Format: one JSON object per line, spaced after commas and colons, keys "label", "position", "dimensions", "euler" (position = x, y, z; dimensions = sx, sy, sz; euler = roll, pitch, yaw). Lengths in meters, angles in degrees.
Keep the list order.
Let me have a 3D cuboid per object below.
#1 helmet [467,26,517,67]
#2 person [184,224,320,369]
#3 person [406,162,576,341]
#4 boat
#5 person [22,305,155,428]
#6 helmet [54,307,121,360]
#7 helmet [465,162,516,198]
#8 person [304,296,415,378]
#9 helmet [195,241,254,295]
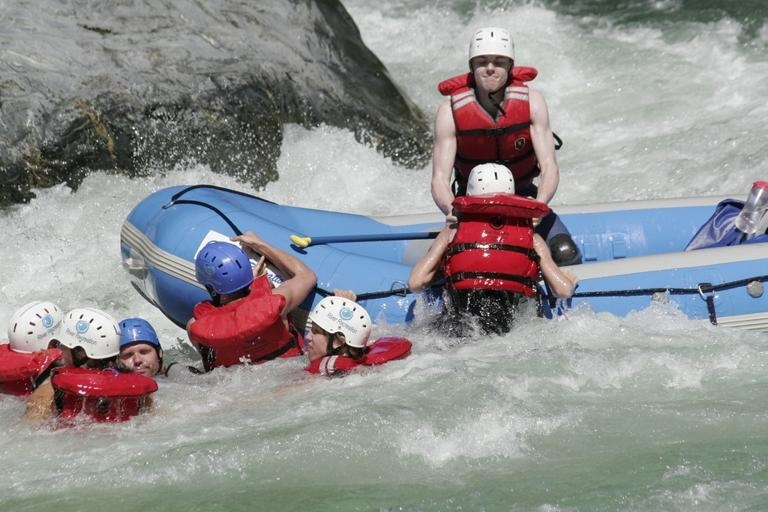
{"label": "helmet", "position": [0.966, -1.831, 8.057], "dimensions": [0.309, 0.339, 0.334], "euler": [0, 46, 3]}
{"label": "person", "position": [-1.155, 0.400, 7.839], "dimensions": [0.762, 1.086, 1.075], "euler": [3, 26, 44]}
{"label": "person", "position": [0.949, 0.018, 7.843], "dimensions": [1.579, 1.840, 0.964], "euler": [5, 48, -2]}
{"label": "boat", "position": [0.479, 0.046, 8.365], "dimensions": [4.936, 0.826, 2.090], "euler": [3, 22, -1]}
{"label": "person", "position": [-2.354, 0.867, 7.318], "dimensions": [1.166, 0.380, 0.858], "euler": [29, 24, 28]}
{"label": "helmet", "position": [-2.411, 0.608, 7.538], "dimensions": [0.574, 0.345, 0.385], "euler": [15, 21, 5]}
{"label": "helmet", "position": [0.932, -0.557, 7.933], "dimensions": [0.444, 0.401, 0.500], "euler": [1, -1, -4]}
{"label": "person", "position": [-0.236, 0.671, 7.764], "dimensions": [0.987, 0.528, 0.587], "euler": [17, 19, -3]}
{"label": "helmet", "position": [-1.376, 0.114, 7.928], "dimensions": [0.587, 0.420, 0.413], "euler": [7, 27, 40]}
